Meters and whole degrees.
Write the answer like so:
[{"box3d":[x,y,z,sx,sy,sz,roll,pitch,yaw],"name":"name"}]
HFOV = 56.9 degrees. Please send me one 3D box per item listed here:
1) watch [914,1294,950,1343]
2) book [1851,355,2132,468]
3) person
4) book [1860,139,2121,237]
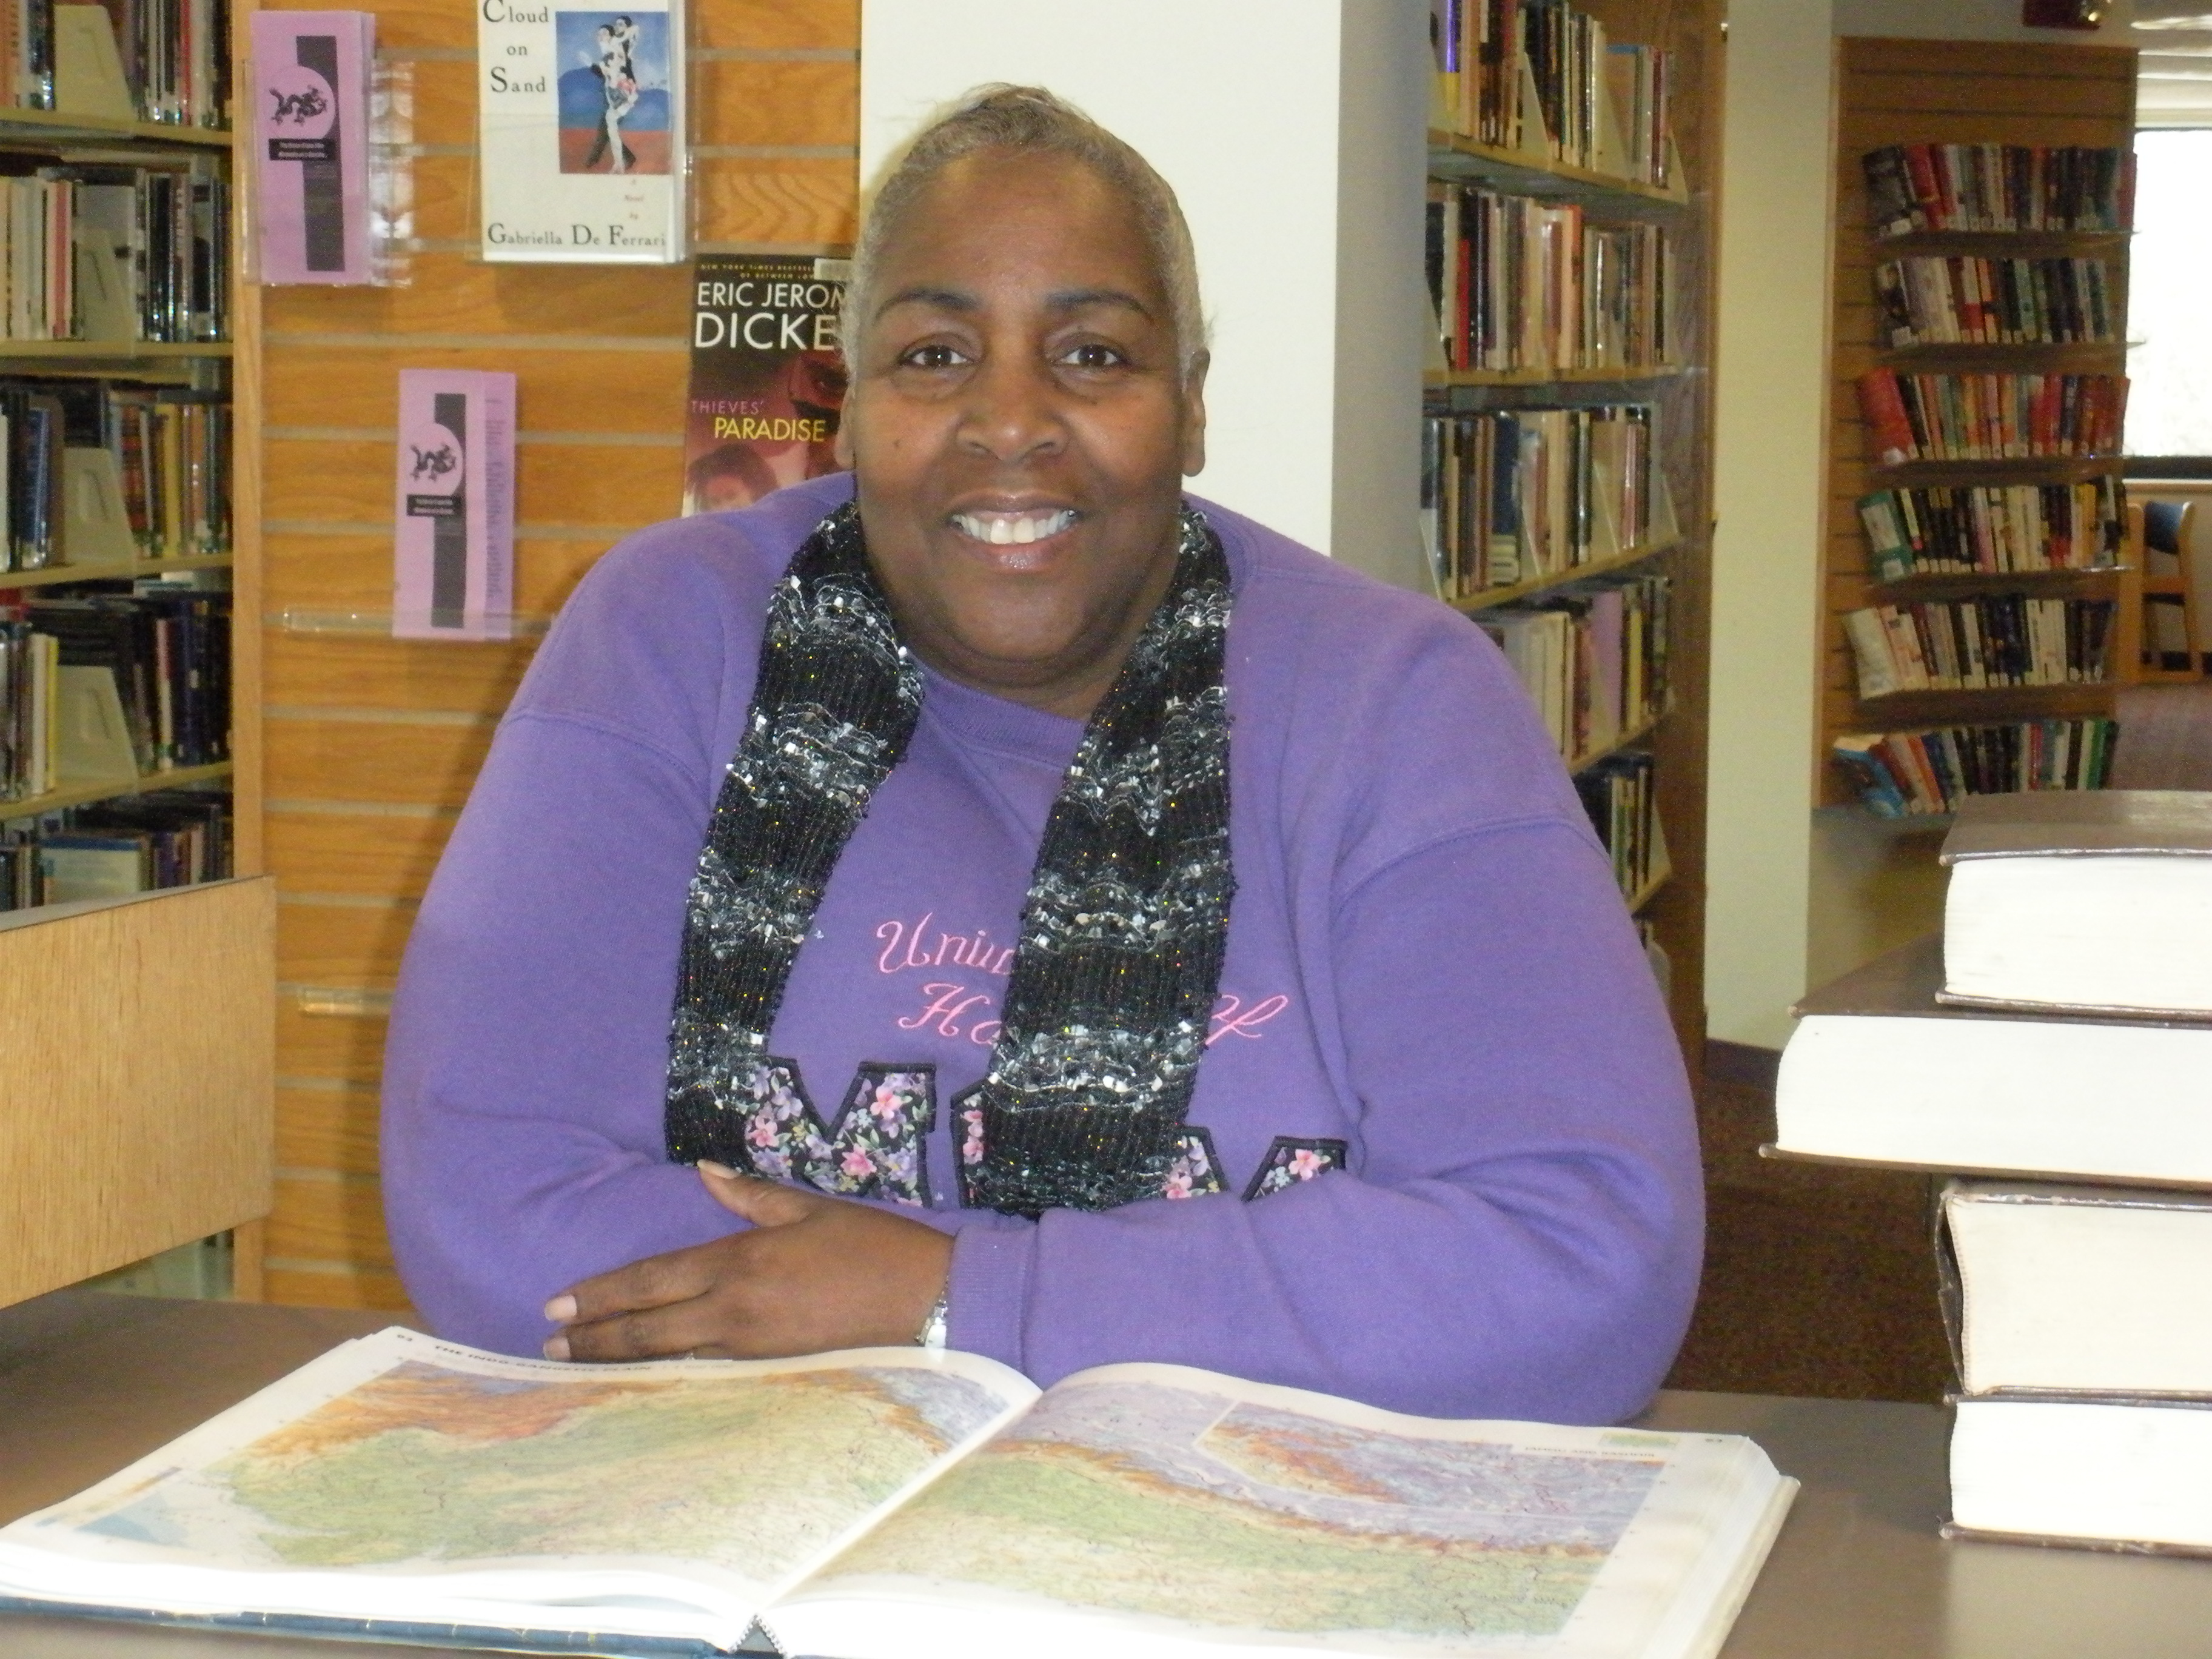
[{"box3d":[-0.101,0.290,1.213,0.019,0.024,0.026,0,-29,-1],"name":"watch"},{"box3d":[3.344,-1.558,7.647,1.331,0.337,0.286,-7,15,-32],"name":"book"},{"box3d":[-0.057,-0.018,1.469,0.975,0.899,0.594,3,20,8],"name":"person"},{"box3d":[3.346,-2.381,7.583,1.178,0.358,0.168,-4,13,-21],"name":"book"}]
